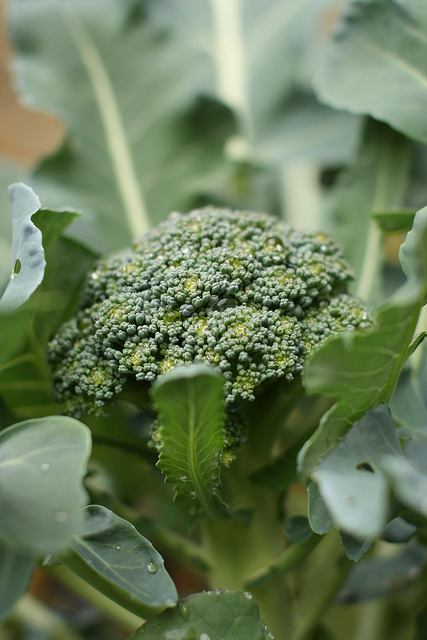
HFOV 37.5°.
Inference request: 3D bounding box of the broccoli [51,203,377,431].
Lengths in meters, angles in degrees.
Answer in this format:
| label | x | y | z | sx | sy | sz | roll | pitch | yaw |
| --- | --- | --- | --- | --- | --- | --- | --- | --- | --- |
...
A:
| label | x | y | z | sx | sy | sz | roll | pitch | yaw |
| --- | --- | --- | --- | --- | --- | --- | --- | --- | --- |
| broccoli | -0.002 | 0.016 | 0.703 | 0.306 | 0.210 | 0.253 | -19 | 19 | -24 |
